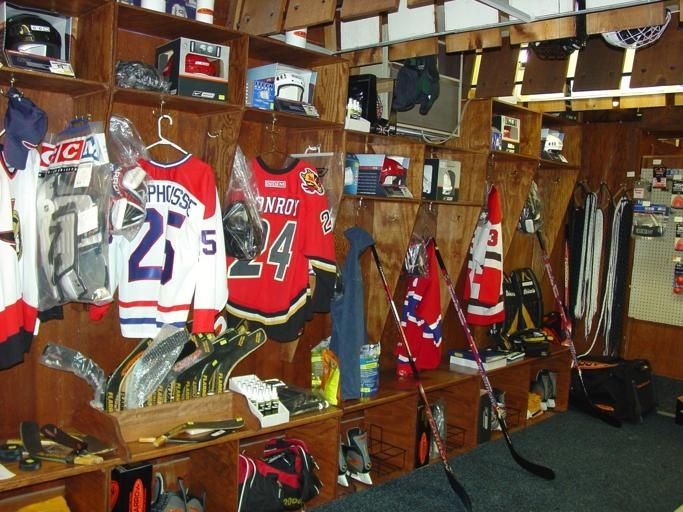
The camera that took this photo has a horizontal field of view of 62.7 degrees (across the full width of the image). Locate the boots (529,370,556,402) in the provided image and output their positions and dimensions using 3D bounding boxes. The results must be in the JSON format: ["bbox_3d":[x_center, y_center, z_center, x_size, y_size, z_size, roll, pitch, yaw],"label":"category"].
[{"bbox_3d":[1.840,1.153,5.132,0.187,0.332,0.232,3,-6,-19],"label":"boots"}]

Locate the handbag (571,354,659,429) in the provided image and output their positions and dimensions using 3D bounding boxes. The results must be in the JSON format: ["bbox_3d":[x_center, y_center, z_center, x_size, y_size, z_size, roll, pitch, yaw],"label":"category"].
[{"bbox_3d":[2.399,1.147,5.006,0.471,0.444,0.640,-6,10,-42],"label":"handbag"}]
